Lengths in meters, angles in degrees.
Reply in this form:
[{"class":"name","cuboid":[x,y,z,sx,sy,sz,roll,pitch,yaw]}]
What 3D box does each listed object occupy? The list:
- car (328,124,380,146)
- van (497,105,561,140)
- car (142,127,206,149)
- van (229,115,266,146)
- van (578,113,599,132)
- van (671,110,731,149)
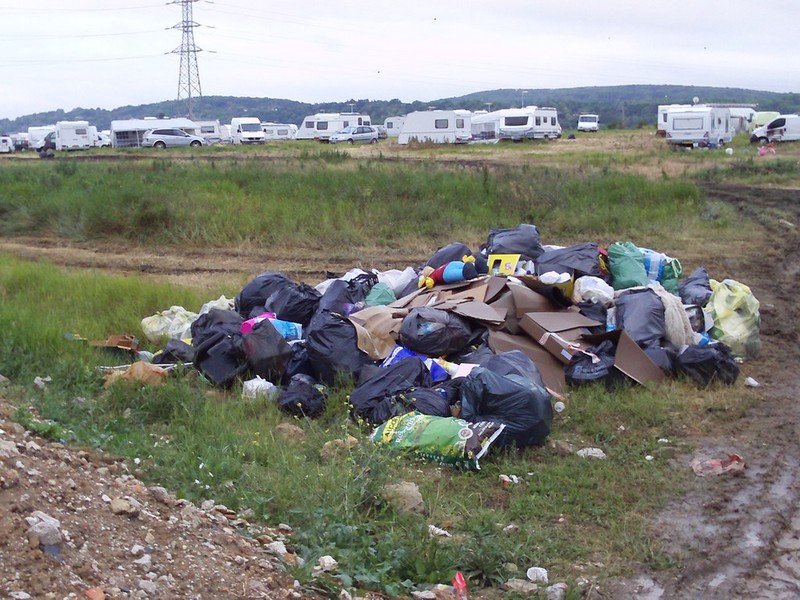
[{"class":"car","cuboid":[-1.888,-7.384,41.272,1.822,0.892,1.203,-3,14,-19]},{"class":"van","cuboid":[5.283,-7.082,37.207,1.315,1.359,2.760,13,19,42]},{"class":"car","cuboid":[-9.111,-6.505,37.291,2.092,0.843,1.030,-7,16,-22]},{"class":"van","cuboid":[-6.814,-7.630,41.466,0.968,1.047,1.878,-5,9,-18]},{"class":"van","cuboid":[10.091,-9.286,49.735,1.199,1.272,2.253,2,14,15]},{"class":"van","cuboid":[10.388,-5.957,31.450,1.378,1.393,5.490,8,17,30]}]
